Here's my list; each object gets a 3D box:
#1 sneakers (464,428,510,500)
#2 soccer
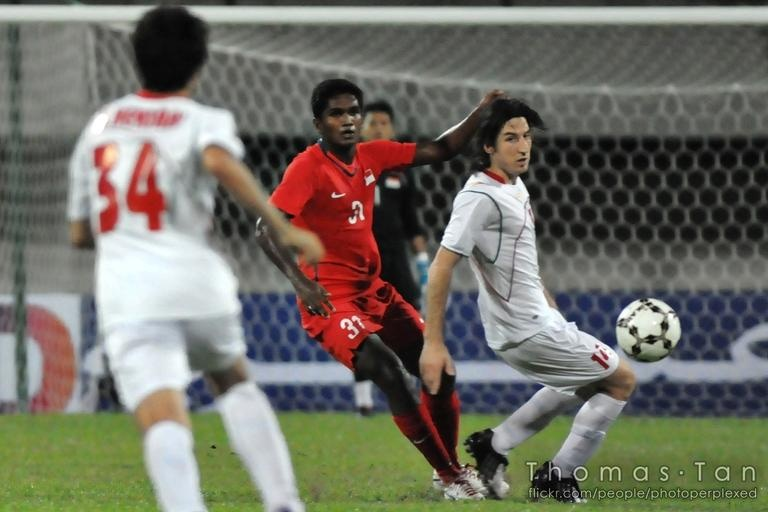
[{"bbox_3d":[0.728,1.459,8.064,0.229,0.558,0.276,-27,0,-21],"label":"sneakers"},{"bbox_3d":[1.895,0.571,8.023,0.484,0.453,0.446,6,-16,-25],"label":"soccer"}]
